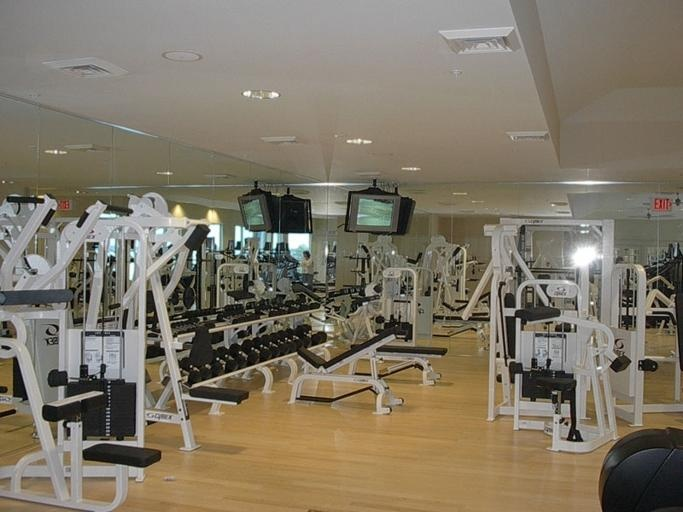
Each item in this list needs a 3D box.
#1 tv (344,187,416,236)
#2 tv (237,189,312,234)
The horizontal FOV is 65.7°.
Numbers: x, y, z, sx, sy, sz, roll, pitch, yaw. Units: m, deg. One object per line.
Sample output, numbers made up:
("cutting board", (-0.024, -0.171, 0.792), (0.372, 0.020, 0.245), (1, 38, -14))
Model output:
("tv", (0.548, -0.657, 7.665), (0.976, 0.677, 0.339), (0, -2, 1))
("tv", (-0.956, -0.631, 7.616), (0.543, 0.549, 1.084), (2, 1, 31))
